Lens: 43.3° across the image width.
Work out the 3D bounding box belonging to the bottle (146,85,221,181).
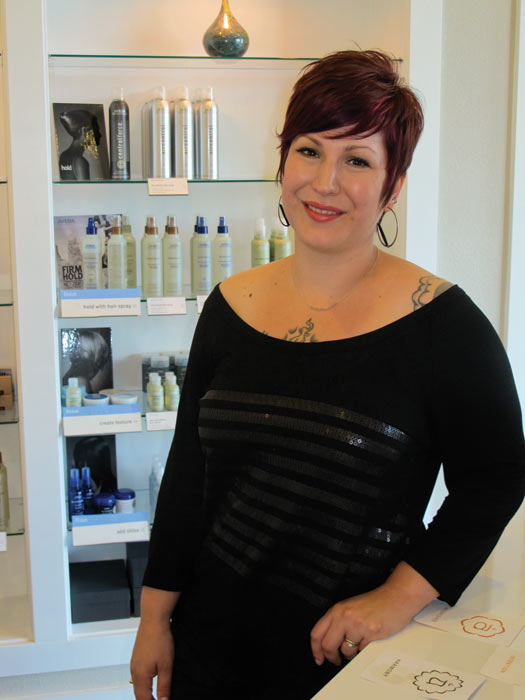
[{"bbox_3d":[-0.240,-0.597,1.912,0.266,0.347,0.258,1,11,0],"label":"bottle"}]

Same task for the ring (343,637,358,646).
[{"bbox_3d":[0.108,0.365,0.826,0.012,0.006,0.009,-1,-27,17],"label":"ring"}]

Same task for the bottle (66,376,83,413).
[{"bbox_3d":[-0.570,0.129,1.977,0.046,0.087,0.088,-13,-1,-9],"label":"bottle"}]

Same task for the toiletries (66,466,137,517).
[{"bbox_3d":[-0.519,0.439,2.071,0.206,0.206,0.129,-1,-3,5],"label":"toiletries"}]

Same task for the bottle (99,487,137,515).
[{"bbox_3d":[-0.456,0.476,2.086,0.102,0.093,0.058,1,3,-5],"label":"bottle"}]
